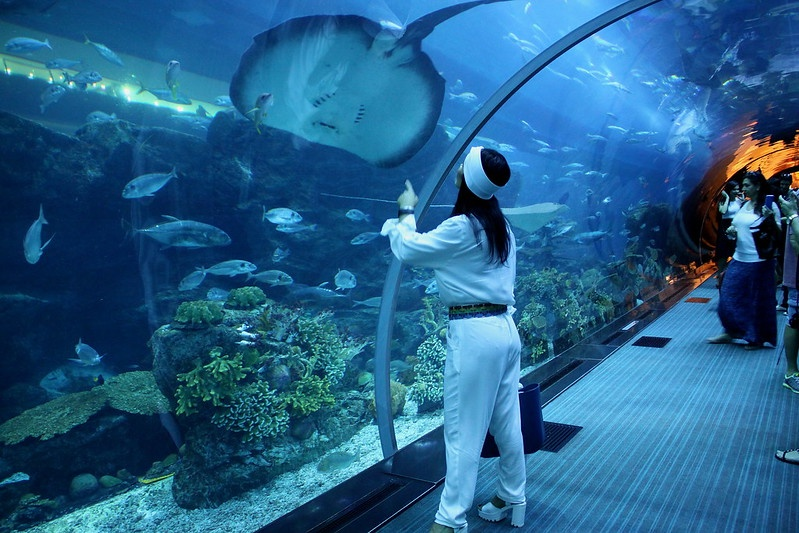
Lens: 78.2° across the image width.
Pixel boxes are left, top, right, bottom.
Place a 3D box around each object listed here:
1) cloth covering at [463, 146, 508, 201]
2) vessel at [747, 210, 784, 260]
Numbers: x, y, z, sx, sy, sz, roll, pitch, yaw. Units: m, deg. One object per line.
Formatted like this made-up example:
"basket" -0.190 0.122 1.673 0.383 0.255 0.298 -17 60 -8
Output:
"cloth covering" 0.627 -0.689 3.753 0.309 0.369 0.207 8 3 -18
"vessel" 4.883 -0.405 6.556 0.360 0.632 0.220 7 28 45
